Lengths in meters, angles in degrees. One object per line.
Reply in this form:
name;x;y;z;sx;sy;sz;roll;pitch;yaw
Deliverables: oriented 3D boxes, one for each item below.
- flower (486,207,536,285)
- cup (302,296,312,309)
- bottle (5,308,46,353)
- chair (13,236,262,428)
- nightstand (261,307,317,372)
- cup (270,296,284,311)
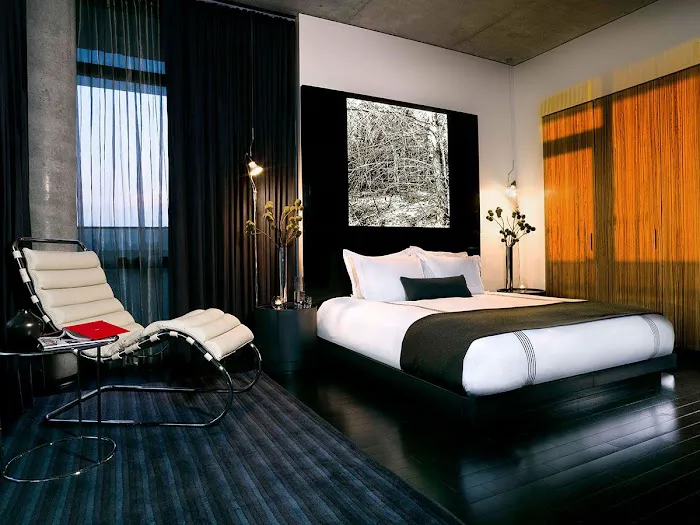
flower;2.077;-0.175;6.155;0.576;1.076;0.747;8;13;42
cup;-0.389;0.398;4.547;0.084;0.164;0.087;-1;3;0
bottle;-2.035;0.421;2.930;0.231;0.288;0.240;-7;-6;42
chair;-1.587;0.482;3.700;1.510;1.394;0.916;-2;3;8
nightstand;-0.601;0.717;4.610;0.748;0.625;0.770;1;4;-6
cup;-0.692;0.392;4.561;0.122;0.120;0.111;3;-5;-40
